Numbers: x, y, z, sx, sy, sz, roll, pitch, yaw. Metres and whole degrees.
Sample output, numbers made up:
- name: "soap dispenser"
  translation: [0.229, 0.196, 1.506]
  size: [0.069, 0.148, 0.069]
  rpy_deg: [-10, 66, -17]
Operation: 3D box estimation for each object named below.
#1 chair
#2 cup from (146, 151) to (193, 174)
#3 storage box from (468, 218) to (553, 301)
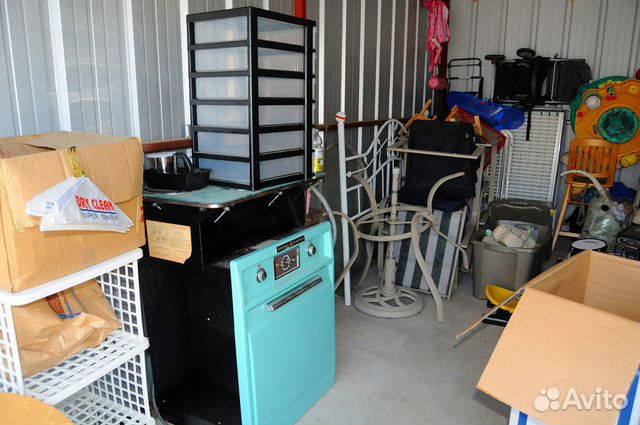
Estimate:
- name: "chair"
  translation: [2.912, -0.180, 4.869]
  size: [0.461, 1.242, 0.749]
  rpy_deg: [10, 21, 27]
- name: "cup"
  translation: [-0.772, -0.260, 2.292]
  size: [0.189, 0.106, 0.153]
  rpy_deg: [-12, 21, -34]
- name: "storage box"
  translation: [1.737, 0.377, 4.020]
  size: [0.595, 0.465, 0.802]
  rpy_deg: [8, 19, 33]
